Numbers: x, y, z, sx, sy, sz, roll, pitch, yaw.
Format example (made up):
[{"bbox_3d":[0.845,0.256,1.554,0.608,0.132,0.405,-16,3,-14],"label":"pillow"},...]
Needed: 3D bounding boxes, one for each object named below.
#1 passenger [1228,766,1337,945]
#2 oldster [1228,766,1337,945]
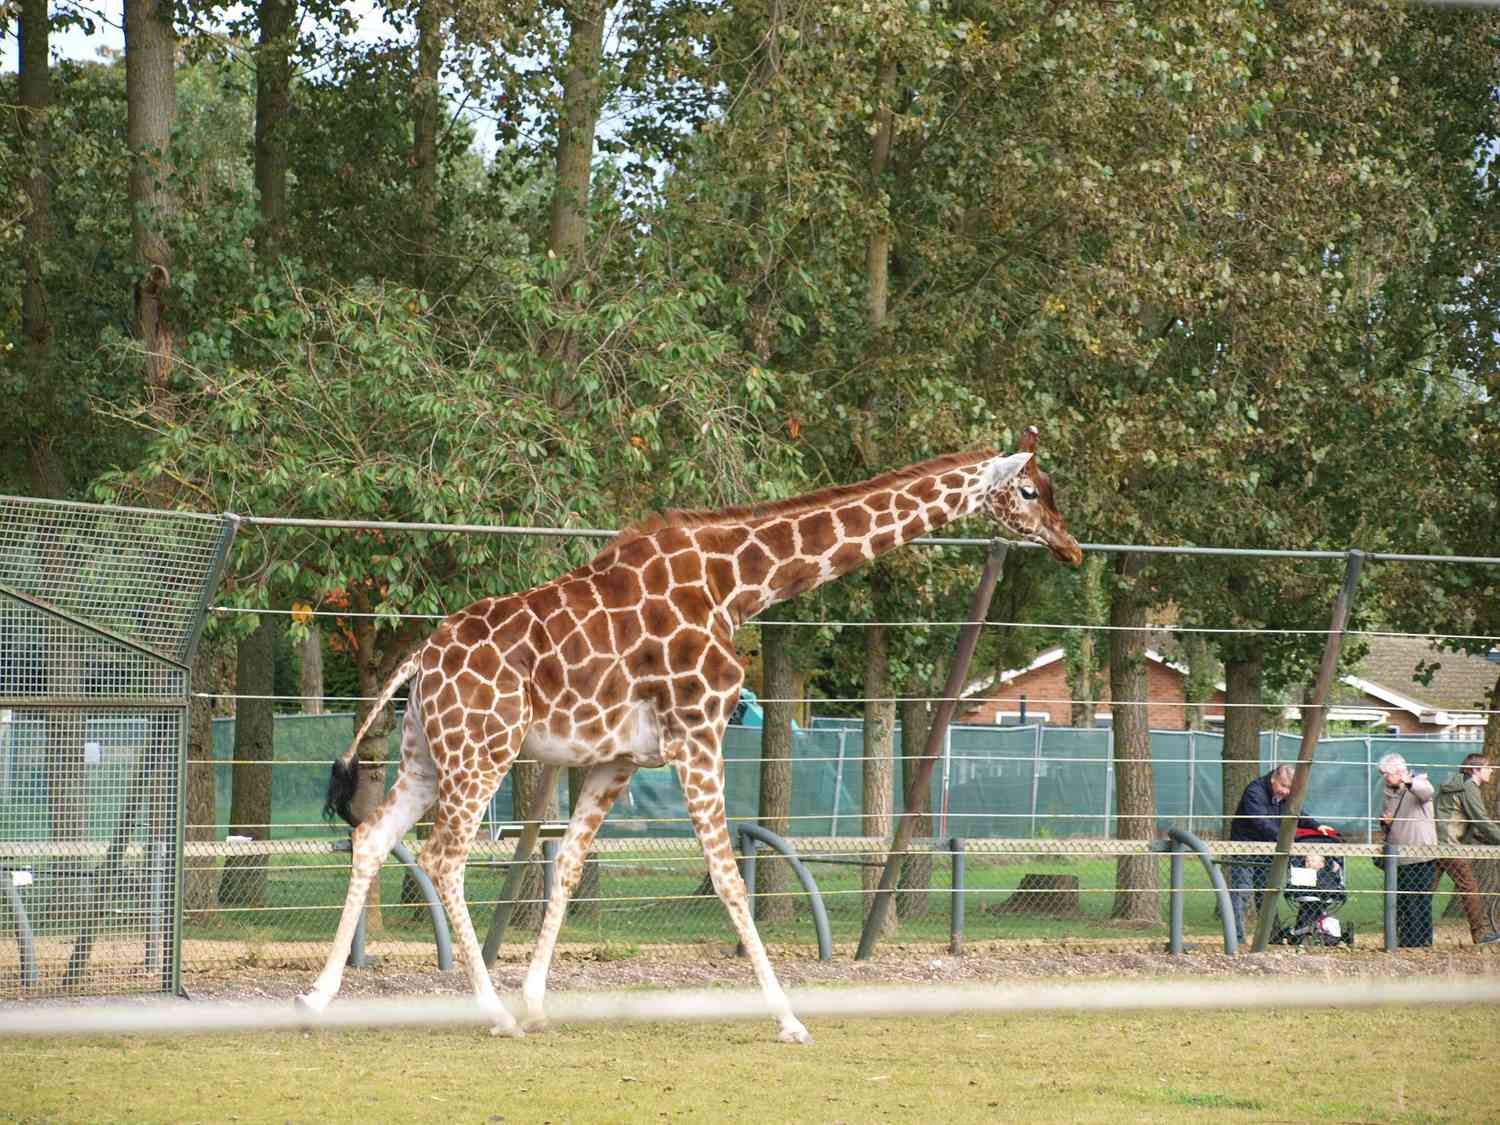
[{"bbox_3d":[4.692,2.612,24.845,0.508,1.632,0.864,6,-1,-35],"label":"passenger"},{"bbox_3d":[4.683,2.601,24.867,0.836,1.583,0.516,6,0,44],"label":"oldster"}]
